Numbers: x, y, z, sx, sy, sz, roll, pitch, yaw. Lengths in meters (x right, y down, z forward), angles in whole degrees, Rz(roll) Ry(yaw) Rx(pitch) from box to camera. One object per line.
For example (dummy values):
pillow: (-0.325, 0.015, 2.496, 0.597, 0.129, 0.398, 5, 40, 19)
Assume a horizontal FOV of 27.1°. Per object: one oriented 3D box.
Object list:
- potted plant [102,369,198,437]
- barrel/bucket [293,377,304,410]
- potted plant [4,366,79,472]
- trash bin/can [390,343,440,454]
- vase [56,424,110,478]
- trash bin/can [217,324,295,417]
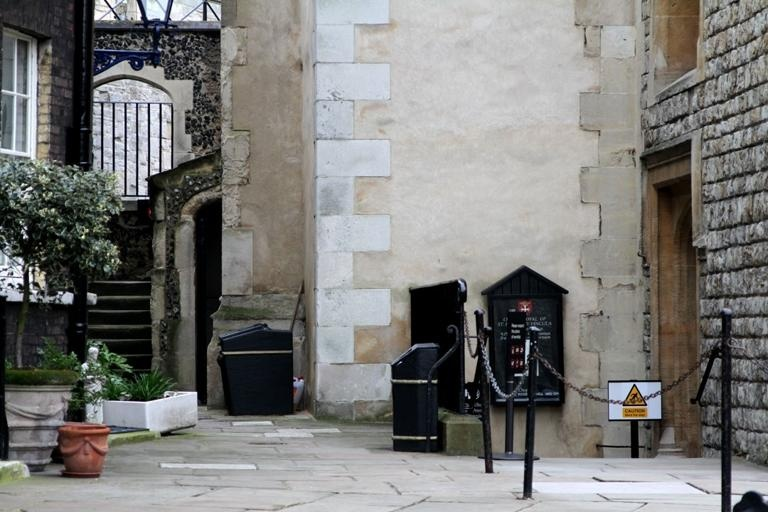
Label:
potted plant: (-3.320, 2.100, 22.830, 1.006, 0.697, 0.984, -1, 0, 42)
barrel/bucket: (-1.344, 2.204, 25.769, 0.172, 0.525, 0.413, 1, -5, -4)
potted plant: (-4.401, 2.013, 20.183, 1.109, 1.128, 1.123, -2, -6, 30)
trash bin/can: (0.450, 1.914, 21.731, 0.646, 1.473, 0.312, 1, -5, 2)
vase: (-3.711, 2.460, 19.865, 0.660, 0.581, 0.646, -6, -12, 19)
trash bin/can: (-2.057, 1.740, 25.457, 1.296, 1.440, 1.117, -2, 9, -16)
